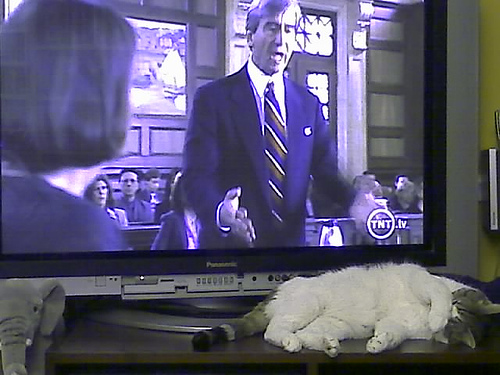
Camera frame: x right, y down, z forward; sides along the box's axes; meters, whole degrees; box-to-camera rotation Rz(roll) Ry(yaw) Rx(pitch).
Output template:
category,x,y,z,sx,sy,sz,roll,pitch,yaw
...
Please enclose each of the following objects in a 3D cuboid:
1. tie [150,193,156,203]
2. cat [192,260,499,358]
category,x,y,z,sx,sy,sz,roll,pitch,yaw
tie,-0.409,0.044,3.122,0.027,0.047,0.028,-1,3,-10
cat,0.377,0.467,3.017,1.300,0.434,0.459,0,18,-9
